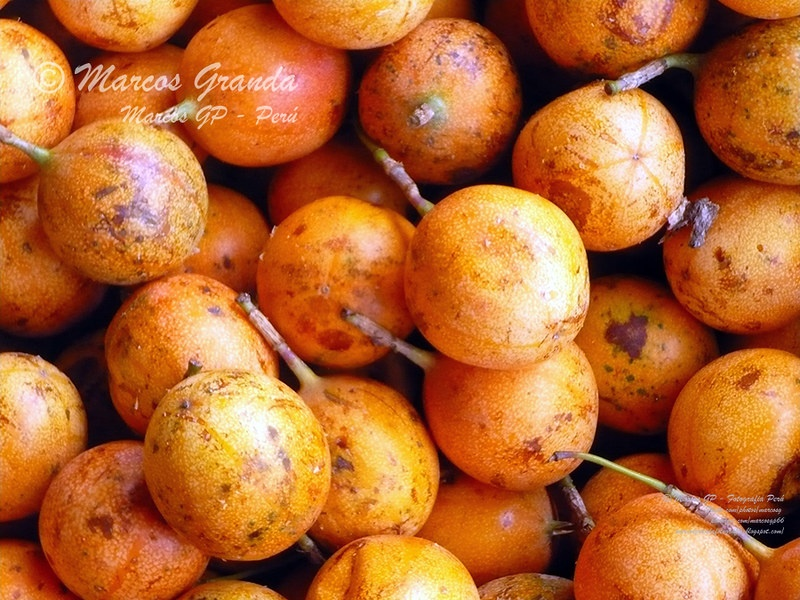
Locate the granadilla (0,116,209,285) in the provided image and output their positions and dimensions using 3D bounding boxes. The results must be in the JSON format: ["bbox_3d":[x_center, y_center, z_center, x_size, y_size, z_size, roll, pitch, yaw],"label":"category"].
[{"bbox_3d":[-0.503,-0.185,1.657,0.379,0.190,0.232,36,90,-11],"label":"granadilla"}]
